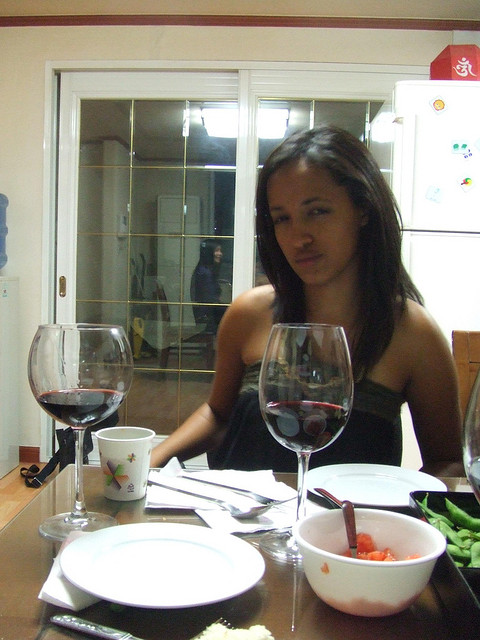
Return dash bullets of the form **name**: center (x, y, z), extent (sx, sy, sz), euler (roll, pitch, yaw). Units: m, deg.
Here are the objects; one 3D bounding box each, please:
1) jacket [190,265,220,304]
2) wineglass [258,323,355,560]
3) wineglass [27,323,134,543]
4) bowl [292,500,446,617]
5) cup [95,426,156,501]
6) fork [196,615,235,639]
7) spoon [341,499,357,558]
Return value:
- **jacket**: center (-0.181, -0.200, 3.049), extent (0.095, 0.131, 0.170), euler (-11, 24, -18)
- **wineglass**: center (0.075, 0.115, 0.606), extent (0.093, 0.163, 0.144), euler (4, 2, 27)
- **wineglass**: center (-0.163, 0.111, 0.621), extent (0.108, 0.212, 0.108), euler (2, 2, -34)
- **bowl**: center (0.101, 0.195, 0.466), extent (0.104, 0.066, 0.106), euler (2, 2, 0)
- **cup**: center (-0.127, 0.174, 0.720), extent (0.090, 0.075, 0.082), euler (1, -3, 0)
- **fork**: center (-0.017, 0.213, 0.394), extent (0.023, 0.007, 0.020), euler (3, 2, 22)
- **spoon**: center (0.091, 0.176, 0.499), extent (0.008, 0.038, 0.004), euler (7, -27, -36)
